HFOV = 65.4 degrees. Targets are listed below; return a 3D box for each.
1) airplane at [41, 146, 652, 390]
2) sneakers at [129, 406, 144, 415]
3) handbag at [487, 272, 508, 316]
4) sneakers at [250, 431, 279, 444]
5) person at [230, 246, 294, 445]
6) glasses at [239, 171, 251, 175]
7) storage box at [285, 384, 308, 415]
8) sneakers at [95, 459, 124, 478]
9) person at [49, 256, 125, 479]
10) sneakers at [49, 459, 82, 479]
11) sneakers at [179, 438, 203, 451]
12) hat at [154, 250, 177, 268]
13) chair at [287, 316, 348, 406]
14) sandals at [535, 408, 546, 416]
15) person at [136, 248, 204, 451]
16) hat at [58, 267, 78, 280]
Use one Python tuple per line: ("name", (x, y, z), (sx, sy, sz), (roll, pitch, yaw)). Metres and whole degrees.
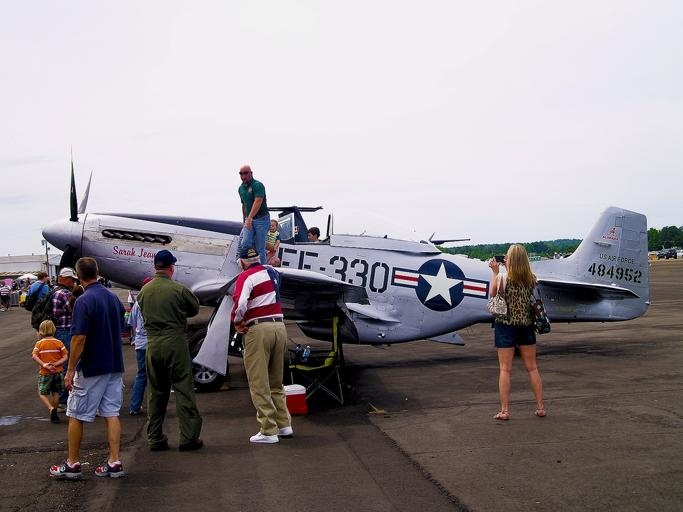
("airplane", (0.308, 0.272, 9.557), (6.314, 2.368, 6.837), (10, -1, -12))
("sneakers", (-2.676, 2.006, 6.963), (0.079, 0.081, 0.180), (3, 5, 19))
("handbag", (1.864, 0.445, 6.372), (0.215, 0.498, 0.309), (0, 2, 13))
("sneakers", (-0.845, 1.998, 5.862), (0.308, 0.120, 0.118), (4, -5, 3))
("person", (-0.868, 0.968, 5.927), (0.665, 2.156, 0.432), (-1, 2, -22))
("glasses", (-1.439, -1.278, 7.963), (0.161, 0.044, 0.050), (-1, 2, -7))
("storage box", (-0.586, 1.856, 7.144), (0.407, 0.460, 0.484), (0, -4, -8))
("sneakers", (-2.190, 1.984, 4.989), (0.331, 0.156, 0.123), (2, -7, 11))
("person", (-2.400, 1.033, 5.046), (0.600, 2.052, 0.575), (-1, 2, -24))
("sneakers", (-2.517, 1.983, 4.960), (0.359, 0.158, 0.123), (6, -1, -1))
("sneakers", (-1.576, 1.999, 5.644), (0.279, 0.106, 0.096), (-2, 8, -32))
("hat", (-1.914, -0.017, 5.753), (0.175, 0.130, 0.255), (1, 27, 0))
("chair", (-0.376, 1.546, 7.732), (0.880, 1.173, 0.820), (0, -11, -22))
("sandals", (2.407, 1.880, 6.446), (0.071, 0.075, 0.186), (0, 0, 5))
("person", (-1.822, 0.983, 5.669), (0.599, 2.116, 0.482), (-1, 2, -27))
("hat", (-3.960, 0.225, 7.744), (0.177, 0.122, 0.237), (3, 3, 4))
